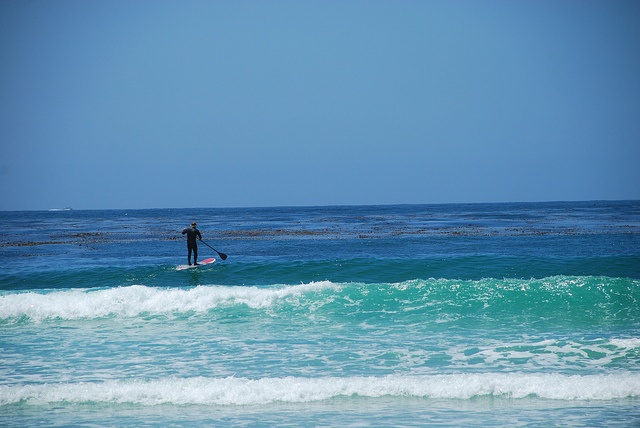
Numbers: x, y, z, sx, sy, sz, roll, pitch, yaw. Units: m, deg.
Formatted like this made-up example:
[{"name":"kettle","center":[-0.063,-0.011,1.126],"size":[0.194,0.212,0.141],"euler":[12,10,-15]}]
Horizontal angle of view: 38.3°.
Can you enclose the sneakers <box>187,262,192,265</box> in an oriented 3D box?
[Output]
[{"name":"sneakers","center":[-7.524,2.846,53.742],"size":[0.233,0.216,0.242],"euler":[1,8,27]}]

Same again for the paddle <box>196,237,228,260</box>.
[{"name":"paddle","center":[-7.558,2.449,65.064],"size":[2.862,0.307,0.188],"euler":[38,-11,-35]}]
